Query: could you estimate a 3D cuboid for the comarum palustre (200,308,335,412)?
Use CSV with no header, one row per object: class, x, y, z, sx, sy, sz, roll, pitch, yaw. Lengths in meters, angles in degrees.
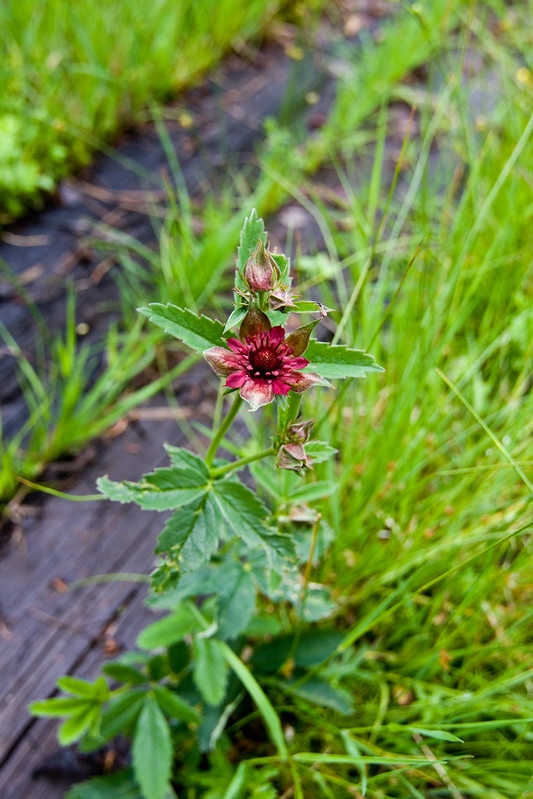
comarum palustre,0.008,-0.070,1.121,0.176,0.186,0.070,23,46,-16
